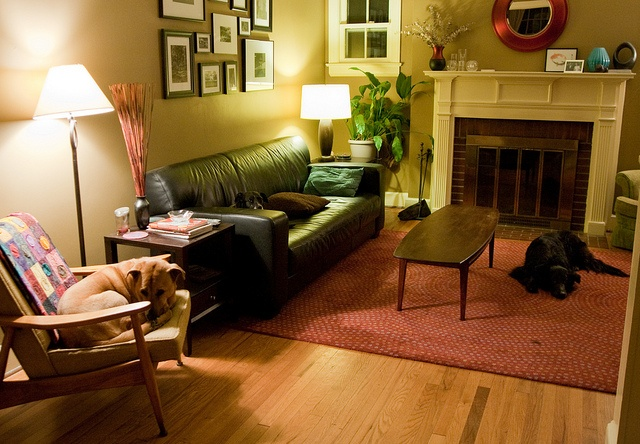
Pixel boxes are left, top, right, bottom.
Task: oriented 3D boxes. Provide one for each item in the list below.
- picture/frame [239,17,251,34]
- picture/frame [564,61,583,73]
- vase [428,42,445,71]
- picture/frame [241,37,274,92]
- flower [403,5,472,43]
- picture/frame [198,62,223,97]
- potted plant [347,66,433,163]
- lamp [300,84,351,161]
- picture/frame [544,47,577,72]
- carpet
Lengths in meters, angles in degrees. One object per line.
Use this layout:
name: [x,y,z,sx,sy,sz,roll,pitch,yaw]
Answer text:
picture/frame: [-0.741,-1.914,4.647,0.022,0.155,0.177,5,13,24]
picture/frame: [2.723,-1.645,5.054,0.137,0.125,0.011,13,4,30]
vase: [1.384,-1.897,5.535,0.188,0.283,0.208,1,16,11]
picture/frame: [-0.653,-1.609,4.854,0.056,0.491,0.560,9,21,27]
flower: [1.408,-2.290,5.503,0.499,0.294,0.568,-4,9,6]
picture/frame: [-1.001,-1.278,4.278,0.031,0.284,0.323,6,14,23]
potted plant: [0.833,-1.241,5.911,1.021,1.052,0.958,3,21,-2]
lamp: [0.068,-1.112,5.382,0.578,0.861,0.596,8,19,24]
picture/frame: [2.644,-1.758,5.153,0.320,0.274,0.026,3,2,13]
carpet: [1.383,0.713,3.594,1.754,2.029,0.015,3,54,29]
